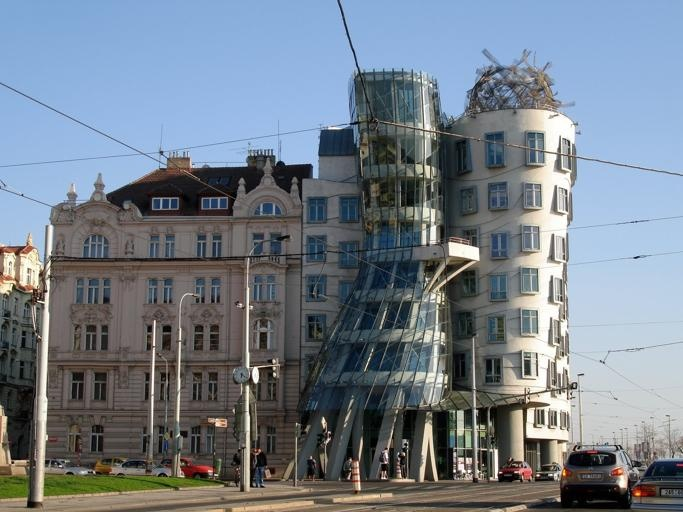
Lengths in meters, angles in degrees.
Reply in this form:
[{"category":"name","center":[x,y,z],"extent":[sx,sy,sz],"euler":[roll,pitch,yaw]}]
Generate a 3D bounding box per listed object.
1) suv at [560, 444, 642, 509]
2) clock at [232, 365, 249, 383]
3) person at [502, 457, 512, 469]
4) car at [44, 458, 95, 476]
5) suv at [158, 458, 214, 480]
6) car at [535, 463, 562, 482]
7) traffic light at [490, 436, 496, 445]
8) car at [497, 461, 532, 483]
[{"category":"suv","center":[12.799,10.948,71.288],"extent":[3.819,3.263,2.526],"euler":[3,-13,-12]},{"category":"clock","center":[-5.564,6.625,79.754],"extent":[0.874,0.976,0.607],"euler":[0,-13,-1]},{"category":"person","center":[12.133,15.079,103.638],"extent":[0.640,0.870,2.370],"euler":[1,-6,9]},{"category":"car","center":[-19.225,14.781,100.247],"extent":[3.076,1.253,4.878],"euler":[3,-13,-12]},{"category":"suv","center":[-10.792,15.036,100.535],"extent":[3.915,1.720,2.061],"euler":[-4,-8,10]},{"category":"car","center":[14.561,15.102,99.639],"extent":[1.161,0.665,2.058],"euler":[-5,-16,17]},{"category":"traffic light","center":[11.804,14.367,110.965],"extent":[0.238,0.714,1.059],"euler":[-5,-14,20]},{"category":"car","center":[12.248,15.109,100.341],"extent":[1.878,1.605,3.515],"euler":[-5,-14,21]}]
